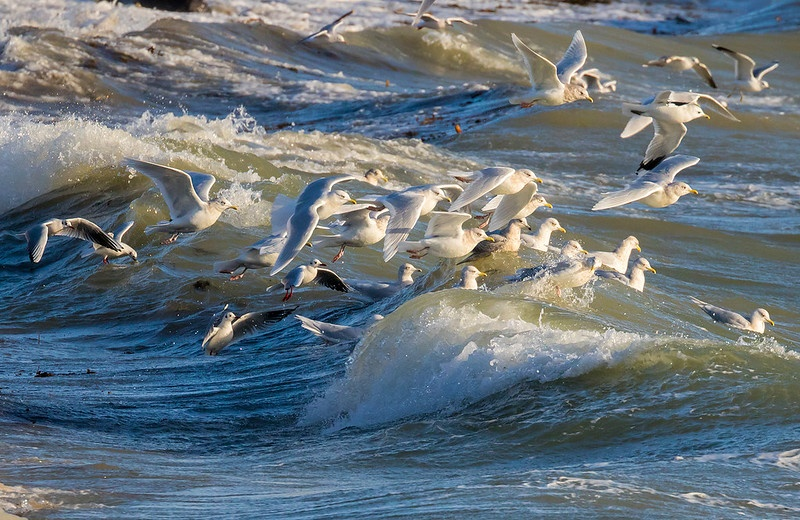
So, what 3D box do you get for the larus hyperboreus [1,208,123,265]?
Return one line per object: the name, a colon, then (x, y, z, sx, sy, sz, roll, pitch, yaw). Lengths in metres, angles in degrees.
larus hyperboreus: (-6.617, -0.605, 25.226, 1.325, 0.333, 1.619, -3, -11, 31)
